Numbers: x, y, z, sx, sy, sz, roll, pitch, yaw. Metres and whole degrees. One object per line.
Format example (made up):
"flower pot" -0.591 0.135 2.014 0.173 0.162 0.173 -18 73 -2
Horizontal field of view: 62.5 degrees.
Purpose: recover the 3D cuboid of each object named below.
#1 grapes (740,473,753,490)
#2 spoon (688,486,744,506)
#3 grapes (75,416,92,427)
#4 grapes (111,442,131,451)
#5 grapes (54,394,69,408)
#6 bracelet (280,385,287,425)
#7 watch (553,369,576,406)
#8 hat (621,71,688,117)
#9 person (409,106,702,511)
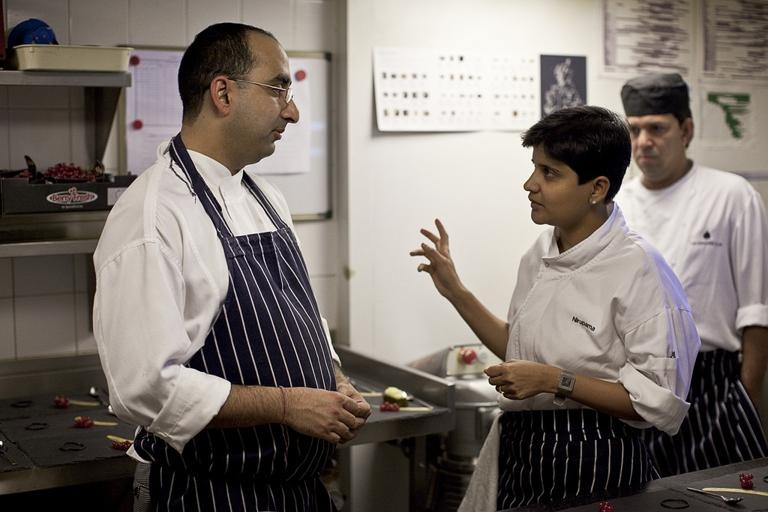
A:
"grapes" 0.967 0.603 1.681 0.030 0.033 0.011 3 -23 -12
"spoon" 0.855 0.623 1.635 0.129 0.010 0.050 5 8 32
"grapes" -1.140 0.626 2.384 0.037 0.031 0.051 2 -6 -16
"grapes" -0.925 0.671 2.226 0.063 0.029 0.045 2 10 -3
"grapes" -1.314 0.588 2.565 0.041 0.025 0.045 20 8 -6
"bracelet" -0.253 0.376 1.584 0.014 0.082 0.028 -1 7 -13
"watch" 0.500 0.377 1.806 0.053 0.092 0.094 21 -18 7
"hat" 1.091 -0.645 2.568 0.219 0.148 0.186 0 13 7
"person" 0.556 0.203 1.901 0.734 1.288 0.364 1 7 5
